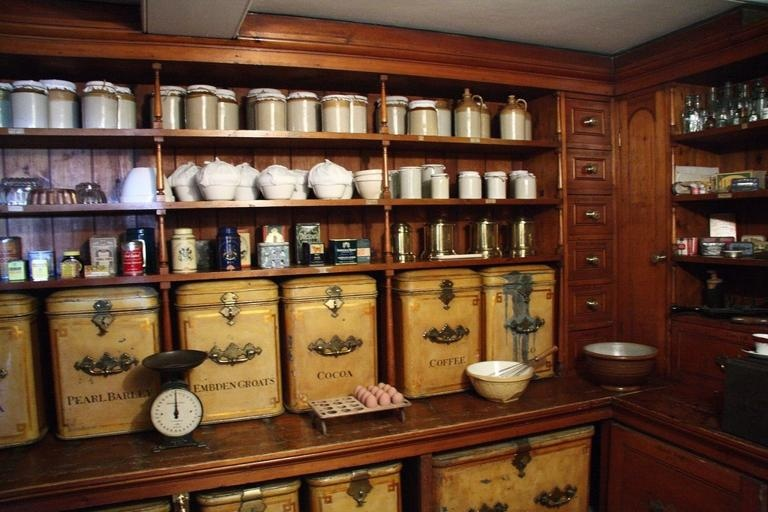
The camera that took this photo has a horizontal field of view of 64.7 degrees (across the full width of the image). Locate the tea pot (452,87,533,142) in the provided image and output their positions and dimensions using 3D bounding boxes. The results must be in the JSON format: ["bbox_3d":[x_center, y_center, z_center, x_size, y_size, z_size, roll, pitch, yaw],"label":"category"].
[{"bbox_3d":[0.756,-1.013,4.326,0.685,0.257,0.211,-1,3,-19],"label":"tea pot"}]

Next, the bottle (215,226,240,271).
[{"bbox_3d":[-0.986,-0.046,3.837,0.152,0.265,0.087,-5,5,-11],"label":"bottle"}]

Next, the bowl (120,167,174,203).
[{"bbox_3d":[-1.499,-0.424,3.752,0.389,0.160,0.296,-1,2,-8],"label":"bowl"}]

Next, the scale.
[{"bbox_3d":[-1.207,0.832,3.569,0.345,0.542,0.288,-5,5,-15],"label":"scale"}]

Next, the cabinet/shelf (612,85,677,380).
[{"bbox_3d":[1.927,-0.082,4.492,0.408,2.270,0.588,-12,20,-5],"label":"cabinet/shelf"}]

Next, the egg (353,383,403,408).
[{"bbox_3d":[-0.046,0.862,3.792,0.213,0.047,0.169,1,-1,-19],"label":"egg"}]

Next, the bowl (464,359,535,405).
[{"bbox_3d":[0.767,0.851,4.005,0.398,0.116,0.309,-10,-30,13],"label":"bowl"}]

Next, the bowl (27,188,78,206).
[{"bbox_3d":[-1.994,-0.357,3.649,0.207,0.047,0.157,0,-1,0],"label":"bowl"}]

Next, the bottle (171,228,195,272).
[{"bbox_3d":[-1.273,-0.040,3.831,0.159,0.275,0.206,-5,4,-16],"label":"bottle"}]

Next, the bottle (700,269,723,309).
[{"bbox_3d":[2.304,0.227,4.286,0.141,0.253,0.315,-2,4,26],"label":"bottle"}]
